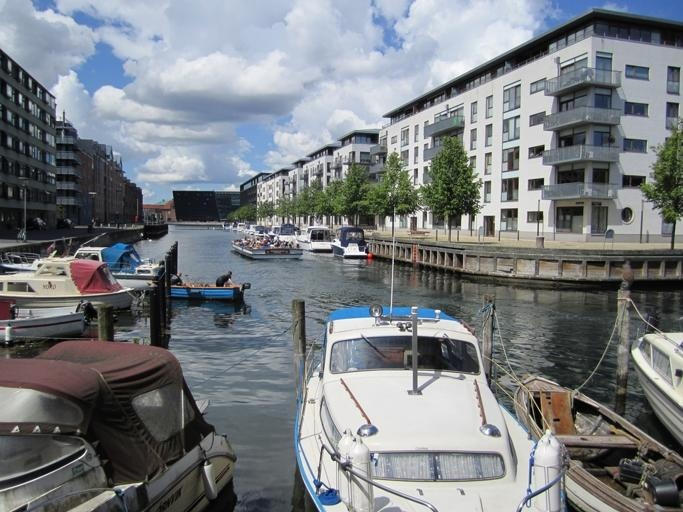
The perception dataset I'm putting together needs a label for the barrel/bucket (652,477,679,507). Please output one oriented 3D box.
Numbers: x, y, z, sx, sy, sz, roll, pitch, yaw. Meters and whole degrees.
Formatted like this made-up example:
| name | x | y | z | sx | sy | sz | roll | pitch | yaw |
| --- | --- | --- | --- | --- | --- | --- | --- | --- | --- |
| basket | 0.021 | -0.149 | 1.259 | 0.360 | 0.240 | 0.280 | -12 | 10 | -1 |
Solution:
| name | x | y | z | sx | sy | sz | roll | pitch | yaw |
| --- | --- | --- | --- | --- | --- | --- | --- | --- | --- |
| barrel/bucket | 5.550 | 4.072 | 9.768 | 0.476 | 0.489 | 0.388 | 0 | -16 | 2 |
